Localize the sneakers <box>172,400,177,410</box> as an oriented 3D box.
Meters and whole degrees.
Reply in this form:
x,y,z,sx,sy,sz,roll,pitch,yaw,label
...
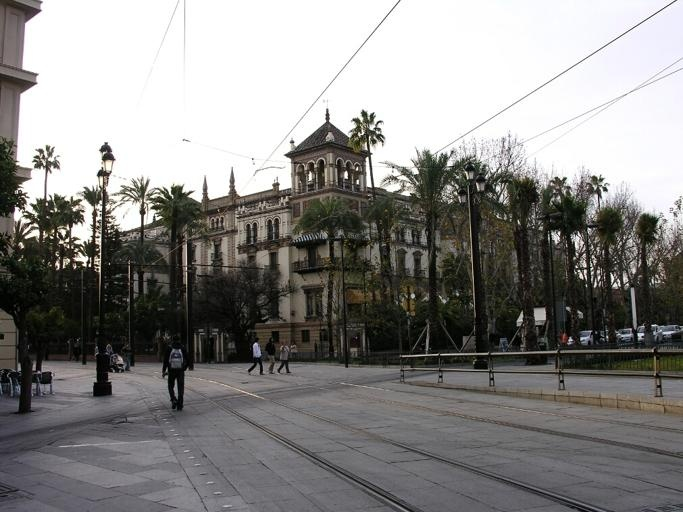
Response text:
x,y,z,sx,sy,sz,roll,pitch,yaw,label
-4.779,4.222,19.784,0.094,0.321,0.204,1,-7,-16,sneakers

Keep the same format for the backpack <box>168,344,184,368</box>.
x,y,z,sx,sy,sz,roll,pitch,yaw,label
-4.667,2.856,19.697,0.534,0.848,0.441,2,-13,-16,backpack

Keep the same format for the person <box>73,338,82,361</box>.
x,y,z,sx,sy,sz,roll,pitch,yaw,label
-24.429,8.765,64.355,0.633,1.665,2.919,-1,-4,-22,person
